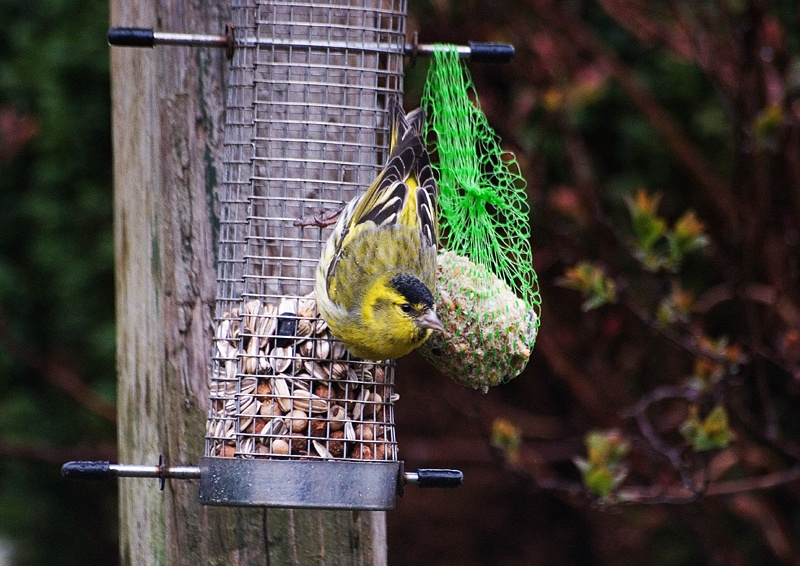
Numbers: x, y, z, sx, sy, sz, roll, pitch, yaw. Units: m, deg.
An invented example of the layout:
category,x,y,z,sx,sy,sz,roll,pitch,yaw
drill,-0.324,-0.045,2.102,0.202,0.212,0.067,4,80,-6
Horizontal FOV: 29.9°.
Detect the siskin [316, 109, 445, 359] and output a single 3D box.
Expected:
category,x,y,z,sx,sy,sz,roll,pitch,yaw
siskin,-0.070,-0.156,7.246,0.463,0.736,1.260,15,83,-36
